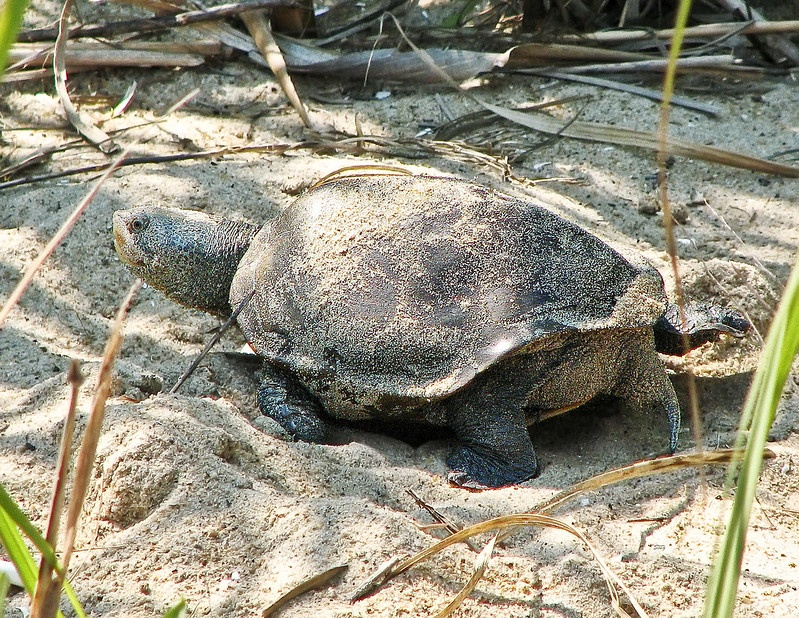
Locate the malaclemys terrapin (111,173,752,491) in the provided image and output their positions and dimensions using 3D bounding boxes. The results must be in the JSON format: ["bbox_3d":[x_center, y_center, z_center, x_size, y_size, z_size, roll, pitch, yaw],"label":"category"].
[{"bbox_3d":[0.026,-0.128,4.812,2.724,1.534,1.212,12,55,19],"label":"malaclemys terrapin"}]
